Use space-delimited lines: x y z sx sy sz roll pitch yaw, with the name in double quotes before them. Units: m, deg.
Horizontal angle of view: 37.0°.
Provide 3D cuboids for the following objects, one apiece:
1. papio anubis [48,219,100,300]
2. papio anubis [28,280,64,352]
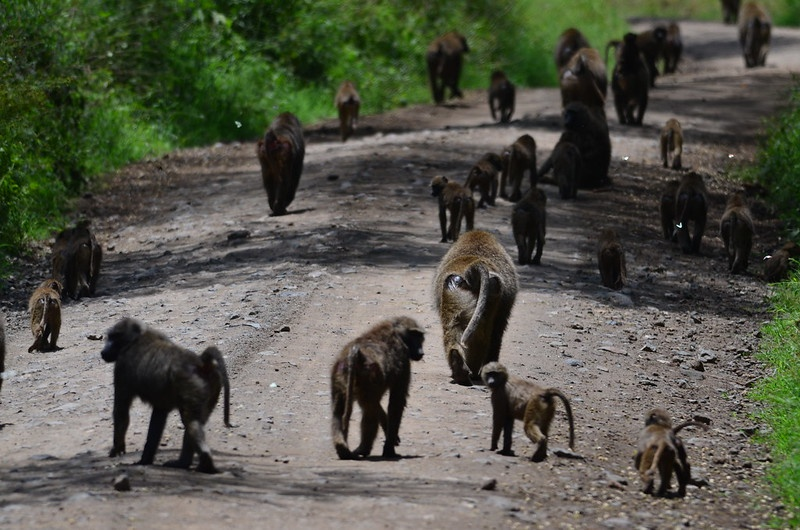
"papio anubis" -5.528 -0.082 20.279 0.830 1.112 0.862 -6 15 -17
"papio anubis" -5.274 0.644 17.777 0.358 0.676 1.379 2 22 -7
